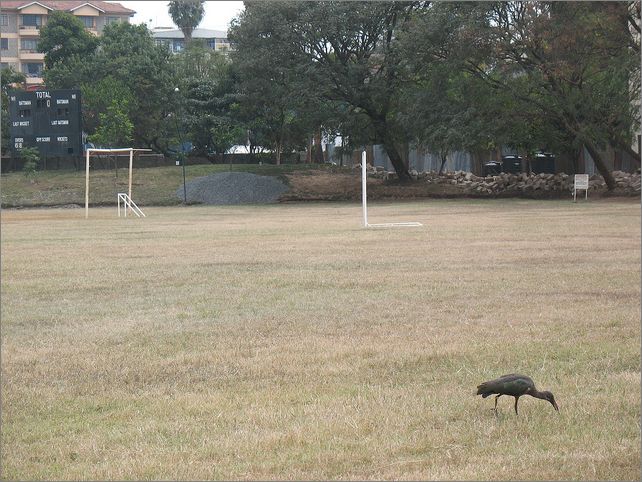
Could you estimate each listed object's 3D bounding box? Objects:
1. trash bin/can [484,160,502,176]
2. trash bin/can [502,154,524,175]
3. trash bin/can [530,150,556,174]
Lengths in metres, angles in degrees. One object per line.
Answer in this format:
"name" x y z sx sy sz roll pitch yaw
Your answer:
"trash bin/can" 13.483 -5.781 101.455 1.325 1.432 1.109 5 14 21
"trash bin/can" 15.127 -6.166 101.877 1.530 1.673 1.651 3 -8 -1
"trash bin/can" 17.027 -6.114 99.036 1.881 2.042 1.079 -1 8 0
